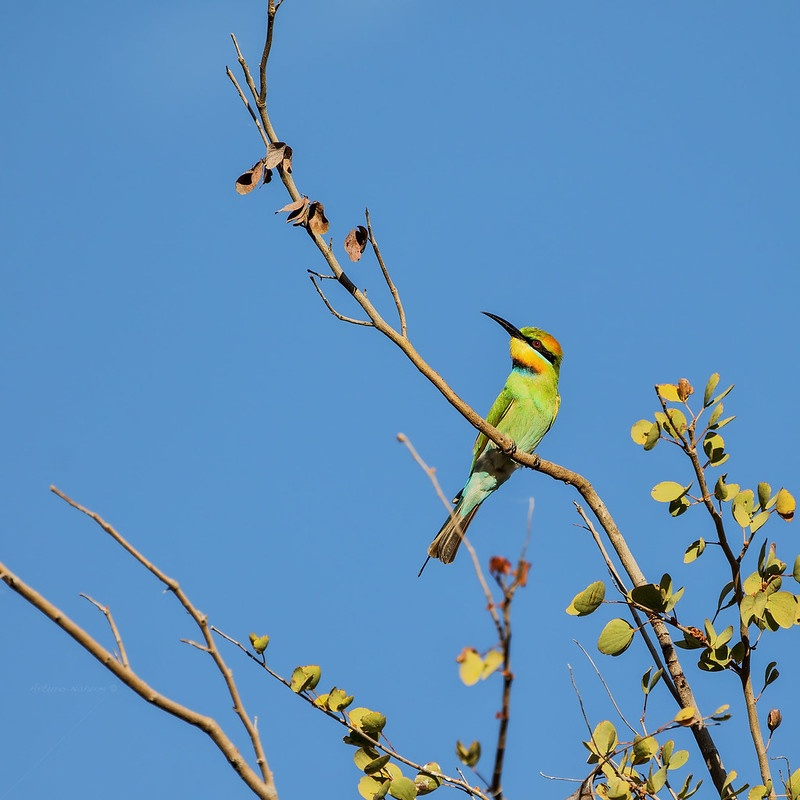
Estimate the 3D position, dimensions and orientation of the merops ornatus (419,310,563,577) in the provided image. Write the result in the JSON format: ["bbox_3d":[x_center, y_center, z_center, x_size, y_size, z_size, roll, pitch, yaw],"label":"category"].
[{"bbox_3d":[0.396,0.161,6.693,0.264,0.428,0.928,19,-67,-25],"label":"merops ornatus"}]
